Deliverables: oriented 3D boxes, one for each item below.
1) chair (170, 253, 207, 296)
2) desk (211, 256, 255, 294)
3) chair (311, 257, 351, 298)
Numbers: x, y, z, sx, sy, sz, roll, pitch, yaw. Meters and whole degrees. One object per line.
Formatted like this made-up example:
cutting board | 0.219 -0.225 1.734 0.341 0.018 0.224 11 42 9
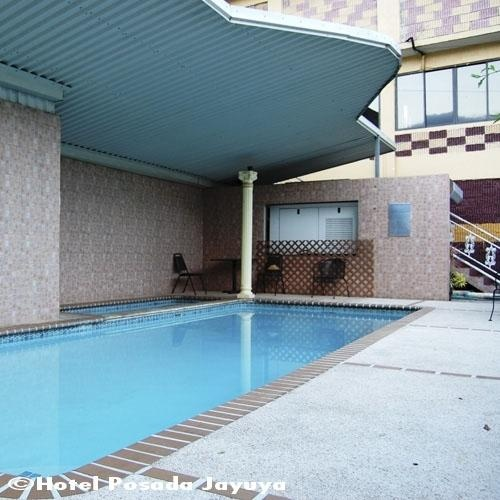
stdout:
chair | -1.413 0.575 10.234 0.681 0.899 0.630 1 1 29
desk | -0.356 0.621 10.643 1.347 0.919 1.321 4 -7 -9
chair | 1.760 0.624 9.543 0.832 1.114 0.829 -2 -7 27
